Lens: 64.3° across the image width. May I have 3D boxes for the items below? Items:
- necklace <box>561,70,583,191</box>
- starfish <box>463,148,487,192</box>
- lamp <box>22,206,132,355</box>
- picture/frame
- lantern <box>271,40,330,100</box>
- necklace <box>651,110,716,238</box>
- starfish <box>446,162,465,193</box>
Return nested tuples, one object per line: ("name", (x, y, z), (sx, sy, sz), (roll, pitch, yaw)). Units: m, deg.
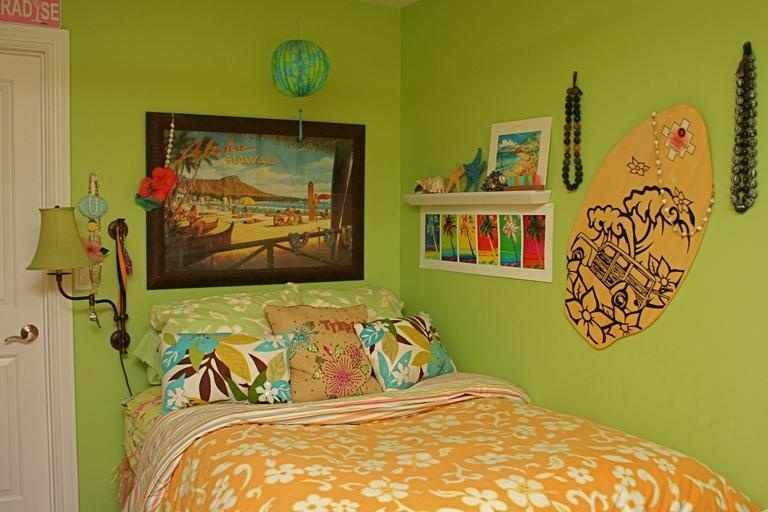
("necklace", (1.030, -0.671, 3.293), (0.095, 0.637, 0.165), (1, 12, 2))
("starfish", (0.573, -0.537, 3.815), (0.075, 0.264, 0.166), (-6, 14, -28))
("lamp", (-1.768, 0.159, 3.527), (0.554, 0.844, 0.346), (1, 2, -35))
("picture/frame", (-0.902, -0.374, 3.976), (1.215, 0.945, 0.046), (-1, 4, -25))
("lantern", (-0.482, -1.035, 3.515), (0.319, 0.311, 0.311), (-1, 6, -7))
("necklace", (1.409, -0.389, 2.907), (0.092, 0.577, 0.343), (-6, 14, -28))
("starfish", (0.466, -0.506, 3.920), (0.058, 0.162, 0.139), (13, 0, 7))
